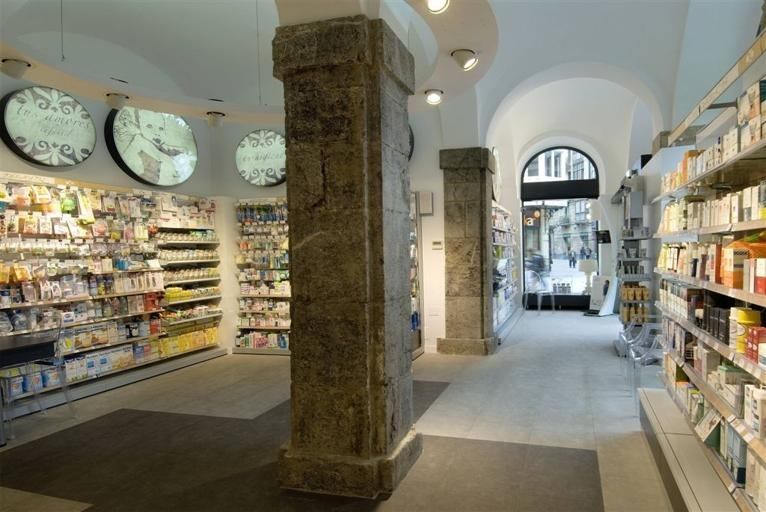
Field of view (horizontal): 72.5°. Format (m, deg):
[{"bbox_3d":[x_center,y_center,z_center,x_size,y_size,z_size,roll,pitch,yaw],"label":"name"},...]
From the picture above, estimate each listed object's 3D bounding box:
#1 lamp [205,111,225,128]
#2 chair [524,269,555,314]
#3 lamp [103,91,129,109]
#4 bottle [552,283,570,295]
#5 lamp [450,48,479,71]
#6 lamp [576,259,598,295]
[{"bbox_3d":[-2.251,-1.836,7.039,0.208,0.193,0.211,2,3,21],"label":"lamp"},{"bbox_3d":[4.405,1.006,14.835,0.927,1.319,0.954,-1,1,33],"label":"chair"},{"bbox_3d":[-3.237,-1.897,6.353,0.195,0.184,0.198,9,9,22],"label":"lamp"},{"bbox_3d":[5.057,0.920,14.725,0.646,0.436,0.311,-1,-7,18],"label":"bottle"},{"bbox_3d":[0.953,-2.255,5.985,0.216,0.194,0.210,0,-33,-41],"label":"lamp"},{"bbox_3d":[5.619,0.559,14.195,0.454,0.973,0.919,2,8,22],"label":"lamp"}]
